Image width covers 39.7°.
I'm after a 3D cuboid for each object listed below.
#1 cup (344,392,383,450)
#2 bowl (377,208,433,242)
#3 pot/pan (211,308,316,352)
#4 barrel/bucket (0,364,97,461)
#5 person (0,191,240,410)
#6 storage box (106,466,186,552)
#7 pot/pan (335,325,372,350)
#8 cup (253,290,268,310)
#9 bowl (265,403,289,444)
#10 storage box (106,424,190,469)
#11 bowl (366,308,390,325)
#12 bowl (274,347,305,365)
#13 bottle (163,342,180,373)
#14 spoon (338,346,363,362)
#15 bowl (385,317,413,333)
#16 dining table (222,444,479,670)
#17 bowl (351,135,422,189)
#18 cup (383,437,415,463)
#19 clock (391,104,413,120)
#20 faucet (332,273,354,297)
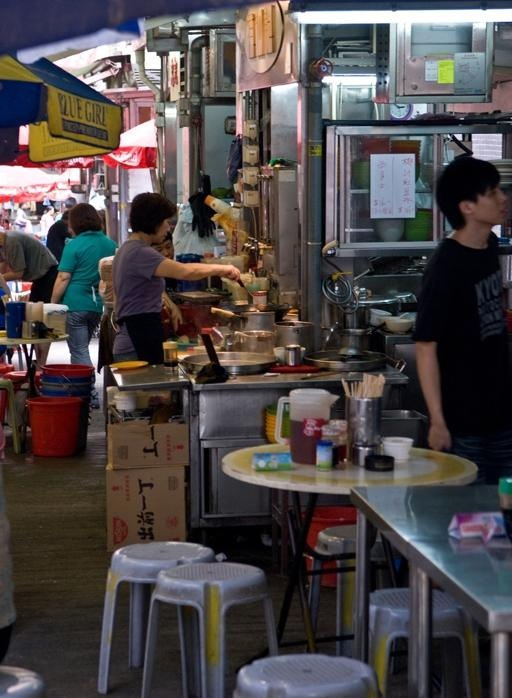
[{"bbox_3d":[0.379,0.258,2.499,0.118,0.184,0.137,0,8,6],"label":"cup"},{"bbox_3d":[1.006,-0.798,4.694,0.291,0.160,0.269,-1,7,0],"label":"bowl"},{"bbox_3d":[0.037,-0.126,4.569,0.651,0.253,0.382,3,9,30],"label":"pot/pan"},{"bbox_3d":[-1.683,0.554,6.333,0.783,0.731,0.716,1,-8,0],"label":"barrel/bucket"},{"bbox_3d":[-1.154,-0.445,4.662,1.429,1.735,0.779,-9,23,-28],"label":"person"},{"bbox_3d":[-0.605,0.894,4.220,0.508,0.444,0.476,0,4,-5],"label":"storage box"},{"bbox_3d":[0.622,-0.068,4.288,0.185,0.123,0.174,1,0,-14],"label":"pot/pan"},{"bbox_3d":[0.034,-0.332,4.822,0.092,0.126,0.140,0,0,1],"label":"cup"},{"bbox_3d":[0.098,0.395,3.693,0.197,0.233,0.252,1,-2,-3],"label":"bowl"},{"bbox_3d":[-0.591,0.522,3.943,0.495,0.242,0.296,0,2,-9],"label":"storage box"},{"bbox_3d":[0.841,-0.213,4.833,0.131,0.108,0.241,-3,8,-11],"label":"bowl"},{"bbox_3d":[0.196,0.036,4.250,0.189,0.116,0.234,0,8,6],"label":"bowl"},{"bbox_3d":[-0.512,0.038,4.318,0.083,0.163,0.229,-2,8,-8],"label":"bottle"},{"bbox_3d":[0.568,0.027,4.190,0.135,0.076,0.146,-1,8,3],"label":"spoon"},{"bbox_3d":[0.941,-0.157,4.669,0.191,0.103,0.159,0,8,9],"label":"bowl"},{"bbox_3d":[0.316,0.569,2.514,0.841,0.558,0.795,1,3,-3],"label":"dining table"},{"bbox_3d":[0.840,-1.239,4.616,0.362,0.245,0.369,0,6,0],"label":"bowl"},{"bbox_3d":[0.506,0.352,2.496,0.097,0.058,0.091,0,0,0],"label":"cup"},{"bbox_3d":[1.261,-2.047,6.113,0.193,0.132,0.189,0,8,4],"label":"clock"},{"bbox_3d":[0.558,-0.395,4.429,0.114,0.155,0.148,-5,9,-25],"label":"faucet"}]
